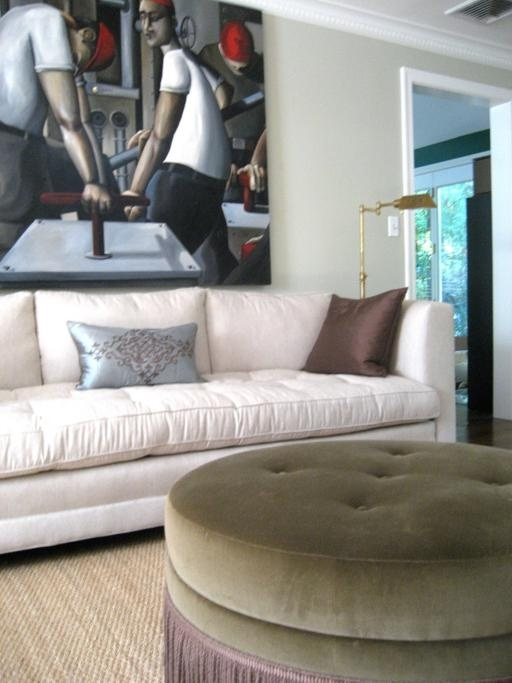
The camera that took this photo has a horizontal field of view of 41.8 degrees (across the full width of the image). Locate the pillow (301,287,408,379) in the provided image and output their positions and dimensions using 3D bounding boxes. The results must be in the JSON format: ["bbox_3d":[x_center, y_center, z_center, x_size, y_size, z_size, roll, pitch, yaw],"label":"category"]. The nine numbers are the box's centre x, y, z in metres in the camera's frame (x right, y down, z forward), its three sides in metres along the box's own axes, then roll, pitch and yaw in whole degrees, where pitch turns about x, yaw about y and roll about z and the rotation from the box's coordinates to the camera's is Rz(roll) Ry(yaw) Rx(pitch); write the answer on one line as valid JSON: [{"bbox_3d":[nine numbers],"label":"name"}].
[{"bbox_3d":[0.414,-0.035,2.902,0.272,0.356,0.511,-7,5,-28],"label":"pillow"}]
